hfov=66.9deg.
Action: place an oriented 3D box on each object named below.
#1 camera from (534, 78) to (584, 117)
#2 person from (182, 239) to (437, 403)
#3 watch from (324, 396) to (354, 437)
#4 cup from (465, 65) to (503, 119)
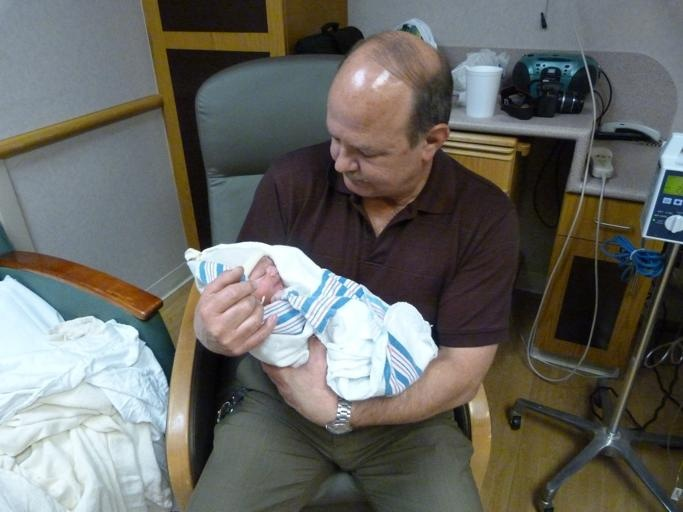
[{"bbox_3d":[0.905,-0.667,2.165,0.151,0.183,0.106,4,32,7],"label":"camera"},{"bbox_3d":[-0.104,0.196,1.520,0.676,0.235,0.402,25,57,-6],"label":"person"},{"bbox_3d":[-0.007,0.459,1.494,0.062,0.117,0.099,4,5,-2],"label":"watch"},{"bbox_3d":[0.561,-0.697,2.173,0.166,0.209,0.190,17,32,29],"label":"cup"}]
